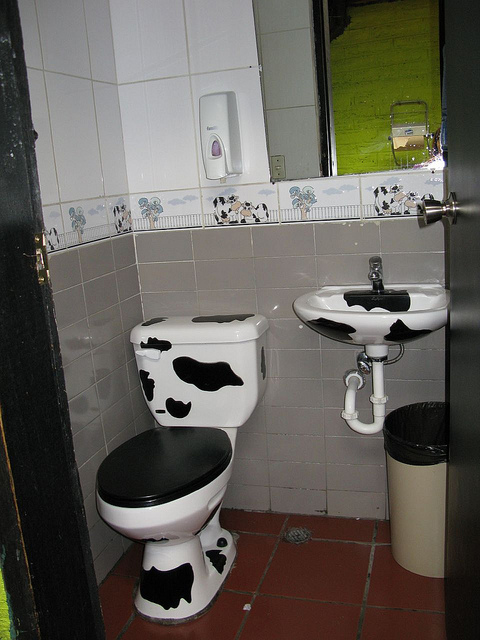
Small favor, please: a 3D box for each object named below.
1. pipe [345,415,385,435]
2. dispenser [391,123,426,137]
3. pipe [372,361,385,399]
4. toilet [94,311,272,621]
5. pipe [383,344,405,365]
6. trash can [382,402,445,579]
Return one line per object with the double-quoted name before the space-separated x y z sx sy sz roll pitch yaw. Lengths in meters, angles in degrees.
"pipe" 0.444 0.376 1.718 0.131 0.093 0.080 -2 10 13
"dispenser" 0.550 -0.619 1.584 0.106 0.044 0.013 -3 9 10
"pipe" 0.470 0.201 1.648 0.038 0.137 0.060 -1 10 16
"toilet" -0.193 0.487 1.672 0.388 0.903 0.753 1 10 17
"pipe" 0.560 0.124 1.760 0.070 0.084 0.031 0 10 22
"trash can" 0.598 0.572 1.657 0.206 0.524 0.249 0 10 17
